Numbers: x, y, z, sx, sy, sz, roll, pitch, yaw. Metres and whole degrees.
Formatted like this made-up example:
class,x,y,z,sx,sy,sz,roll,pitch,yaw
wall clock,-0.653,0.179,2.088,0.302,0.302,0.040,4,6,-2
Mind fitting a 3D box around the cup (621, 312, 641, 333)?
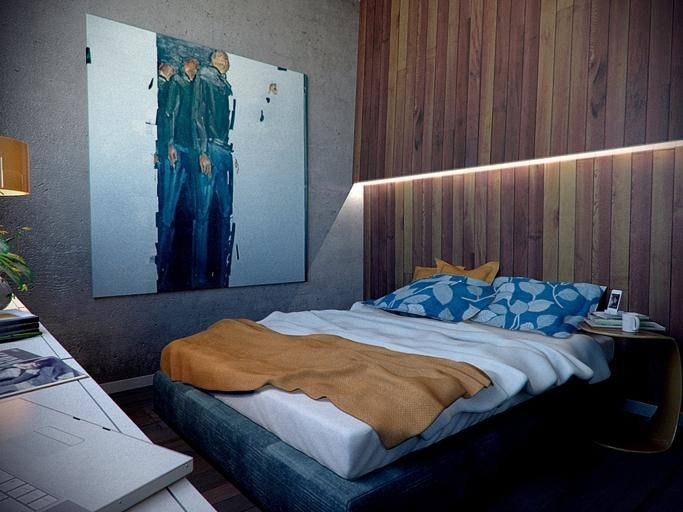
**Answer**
class,x,y,z,sx,sy,sz,roll,pitch,yaw
cup,1.756,0.406,3.132,0.078,0.113,0.127,2,1,12
